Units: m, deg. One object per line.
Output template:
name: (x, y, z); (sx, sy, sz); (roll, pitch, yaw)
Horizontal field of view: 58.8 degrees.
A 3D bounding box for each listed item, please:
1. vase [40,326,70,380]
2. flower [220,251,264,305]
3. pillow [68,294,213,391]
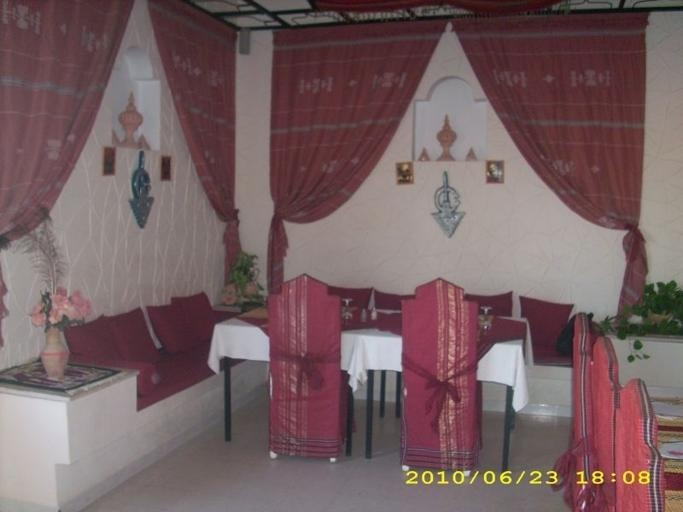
vase: (-2.079, 0.695, 4.377); (0.166, 0.364, 0.197); (-7, 14, -34)
flower: (-1.120, 0.282, 6.895); (0.475, 0.582, 0.421); (-2, 12, -15)
pillow: (-1.675, 0.819, 5.256); (0.753, 0.601, 1.240); (6, 13, 23)
